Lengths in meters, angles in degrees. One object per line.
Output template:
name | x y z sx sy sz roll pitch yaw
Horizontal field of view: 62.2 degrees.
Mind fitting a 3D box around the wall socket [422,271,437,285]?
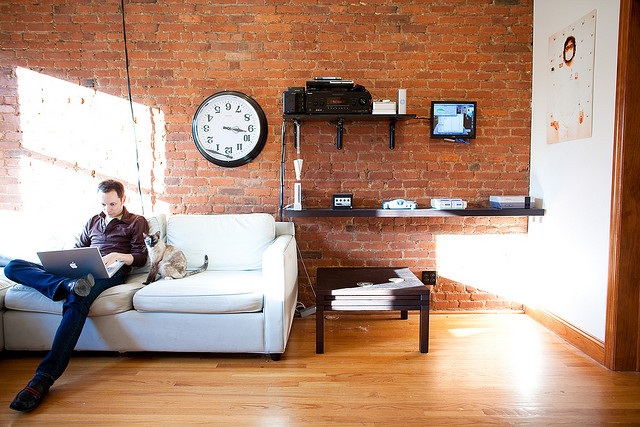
wall socket | 1.085 0.641 5.270 0.146 0.135 0.050 0 7 3

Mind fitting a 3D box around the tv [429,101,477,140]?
tv | 1.286 -0.913 5.147 0.427 0.295 0.040 1 5 -4

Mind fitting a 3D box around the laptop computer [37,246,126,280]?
laptop computer | -1.969 0.395 4.436 0.486 0.272 0.297 -2 35 5

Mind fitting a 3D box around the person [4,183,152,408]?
person | -2.055 0.562 4.432 0.697 1.612 1.316 2 6 22

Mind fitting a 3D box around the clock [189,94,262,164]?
clock | -0.910 -0.823 5.209 0.662 0.674 0.070 0 7 5

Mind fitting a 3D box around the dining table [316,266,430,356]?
dining table | 0.431 0.855 4.764 0.947 0.628 0.659 0 6 -1

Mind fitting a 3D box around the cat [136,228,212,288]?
cat | -1.278 0.389 4.704 0.676 0.436 0.252 0 -9 12
